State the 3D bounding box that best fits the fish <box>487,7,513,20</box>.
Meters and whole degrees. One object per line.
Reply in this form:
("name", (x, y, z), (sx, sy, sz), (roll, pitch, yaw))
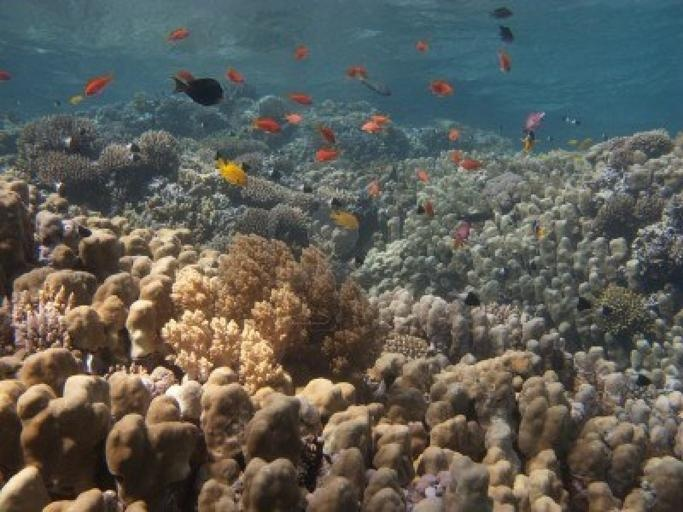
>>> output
("fish", (8.079, -12.449, 40.368), (0.732, 0.285, 0.764), (-20, 48, -13))
